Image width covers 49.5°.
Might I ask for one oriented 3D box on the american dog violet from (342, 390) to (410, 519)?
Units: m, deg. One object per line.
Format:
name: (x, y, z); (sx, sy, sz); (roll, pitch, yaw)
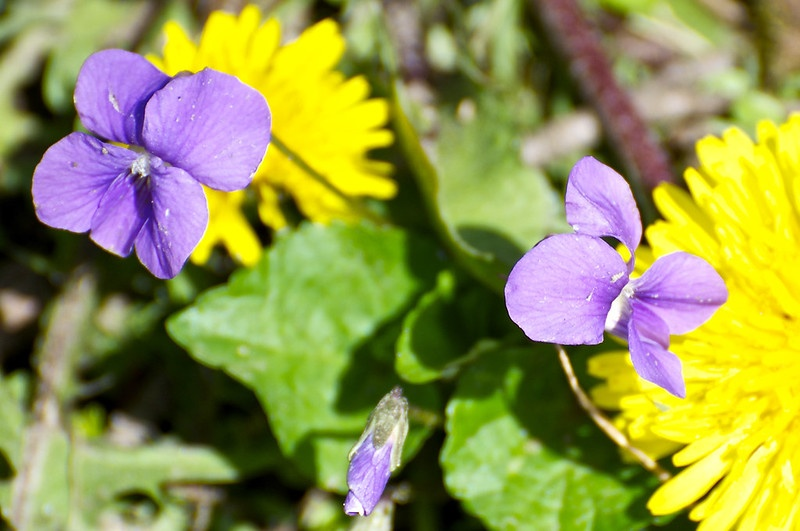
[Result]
american dog violet: (-0.033, 0.274, 1.274); (0.076, 0.207, 0.070); (19, 11, 18)

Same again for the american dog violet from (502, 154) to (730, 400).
american dog violet: (0.276, 0.035, 1.311); (0.333, 0.335, 0.100); (-44, 5, -14)

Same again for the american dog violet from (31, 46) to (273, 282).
american dog violet: (-0.353, -0.140, 1.370); (0.323, 0.352, 0.115); (37, 9, 10)
